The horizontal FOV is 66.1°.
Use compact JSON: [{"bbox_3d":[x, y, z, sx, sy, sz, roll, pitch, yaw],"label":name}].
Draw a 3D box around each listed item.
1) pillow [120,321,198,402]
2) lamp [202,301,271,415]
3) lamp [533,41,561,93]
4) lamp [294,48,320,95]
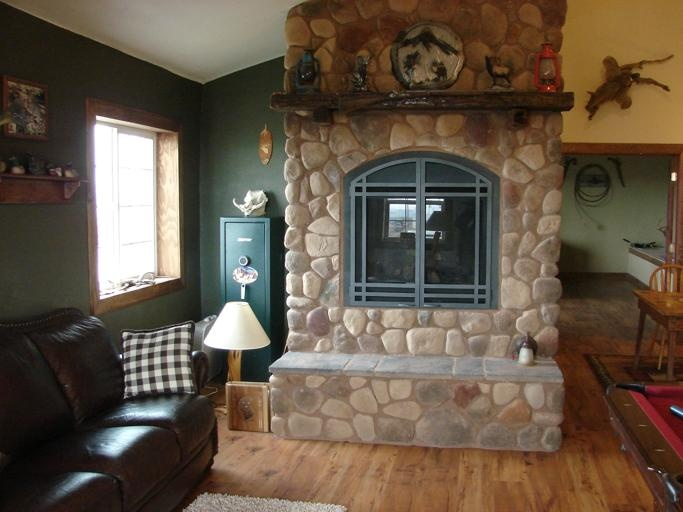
[{"bbox_3d":[-1.361,0.818,3.945,0.470,0.481,0.163,-5,-23,-4],"label":"pillow"},{"bbox_3d":[-0.912,0.782,4.586,0.539,0.802,0.516,7,14,10],"label":"lamp"},{"bbox_3d":[1.649,-1.491,4.179,0.219,0.376,0.207,0,11,3],"label":"lamp"},{"bbox_3d":[-0.288,-1.552,4.413,0.218,0.379,0.243,-1,11,-3],"label":"lamp"}]
